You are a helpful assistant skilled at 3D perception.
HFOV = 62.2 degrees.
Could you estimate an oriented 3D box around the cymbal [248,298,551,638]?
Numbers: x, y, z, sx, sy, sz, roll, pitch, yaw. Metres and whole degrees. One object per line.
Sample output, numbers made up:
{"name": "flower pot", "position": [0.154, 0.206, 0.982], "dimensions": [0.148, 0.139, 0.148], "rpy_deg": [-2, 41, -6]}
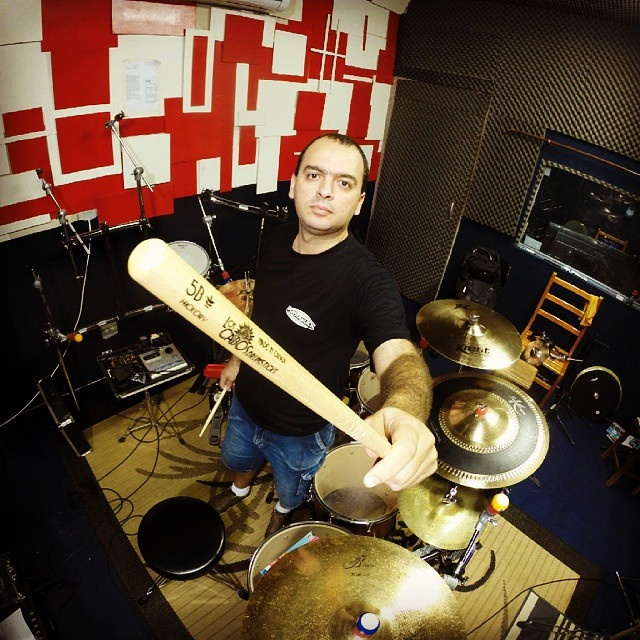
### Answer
{"name": "cymbal", "position": [0.618, 1.367, 4.007], "dimensions": [1.415, 1.348, 1.238], "rpy_deg": [-23, 82, -17]}
